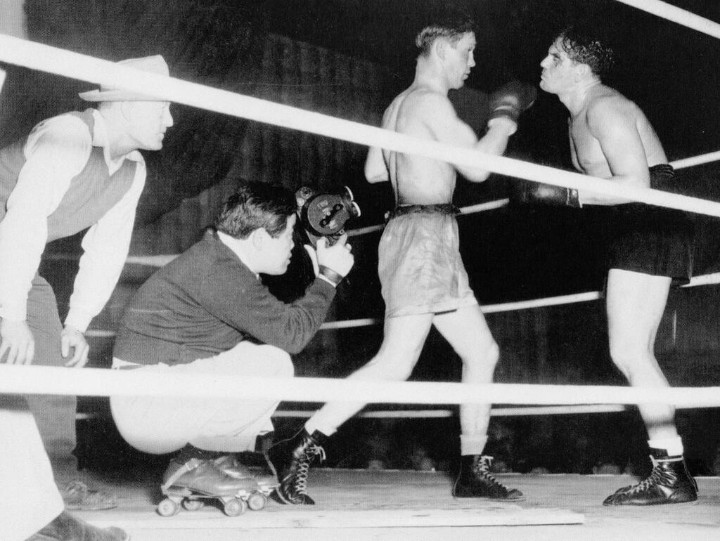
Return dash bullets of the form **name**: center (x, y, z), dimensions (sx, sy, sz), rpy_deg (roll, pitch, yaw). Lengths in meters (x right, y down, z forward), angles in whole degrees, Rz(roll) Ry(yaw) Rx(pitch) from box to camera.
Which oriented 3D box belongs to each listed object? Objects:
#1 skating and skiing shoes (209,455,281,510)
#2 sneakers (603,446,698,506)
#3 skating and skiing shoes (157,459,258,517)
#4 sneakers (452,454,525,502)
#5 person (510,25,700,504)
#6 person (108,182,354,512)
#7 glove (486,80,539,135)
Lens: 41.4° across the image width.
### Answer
- **skating and skiing shoes**: center (-0.378, 0.594, 2.713), dimensions (0.264, 0.089, 0.186), rpy_deg (7, -1, 15)
- **sneakers**: center (0.896, 0.621, 2.851), dimensions (0.378, 0.203, 0.122), rpy_deg (1, -15, 6)
- **skating and skiing shoes**: center (-0.415, 0.588, 2.653), dimensions (0.291, 0.135, 0.185), rpy_deg (-4, 4, 29)
- **sneakers**: center (0.395, 0.633, 2.924), dimensions (0.232, 0.127, 0.084), rpy_deg (-3, -11, 29)
- **person**: center (0.779, -0.040, 2.962), dimensions (0.628, 1.330, 0.428), rpy_deg (5, -1, 21)
- **person**: center (-0.374, 0.200, 2.734), dimensions (0.544, 0.940, 0.380), rpy_deg (6, -1, -34)
- **glove**: center (0.495, -0.532, 3.102), dimensions (0.157, 0.104, 0.263), rpy_deg (2, 40, 22)
